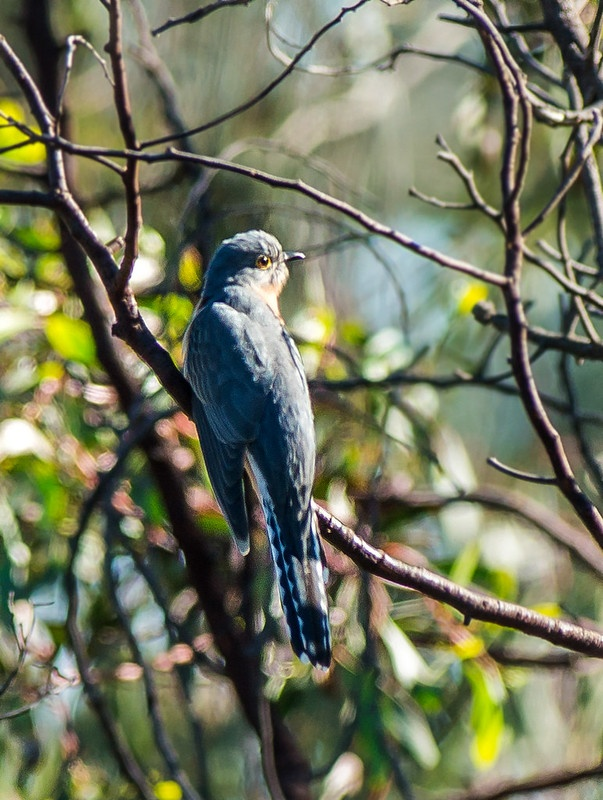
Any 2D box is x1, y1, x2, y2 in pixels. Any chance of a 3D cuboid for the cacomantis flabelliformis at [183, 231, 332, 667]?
[{"bbox_3d":[-0.104,0.129,4.137,0.379,1.486,0.578,3,-25,-26],"label":"cacomantis flabelliformis"}]
